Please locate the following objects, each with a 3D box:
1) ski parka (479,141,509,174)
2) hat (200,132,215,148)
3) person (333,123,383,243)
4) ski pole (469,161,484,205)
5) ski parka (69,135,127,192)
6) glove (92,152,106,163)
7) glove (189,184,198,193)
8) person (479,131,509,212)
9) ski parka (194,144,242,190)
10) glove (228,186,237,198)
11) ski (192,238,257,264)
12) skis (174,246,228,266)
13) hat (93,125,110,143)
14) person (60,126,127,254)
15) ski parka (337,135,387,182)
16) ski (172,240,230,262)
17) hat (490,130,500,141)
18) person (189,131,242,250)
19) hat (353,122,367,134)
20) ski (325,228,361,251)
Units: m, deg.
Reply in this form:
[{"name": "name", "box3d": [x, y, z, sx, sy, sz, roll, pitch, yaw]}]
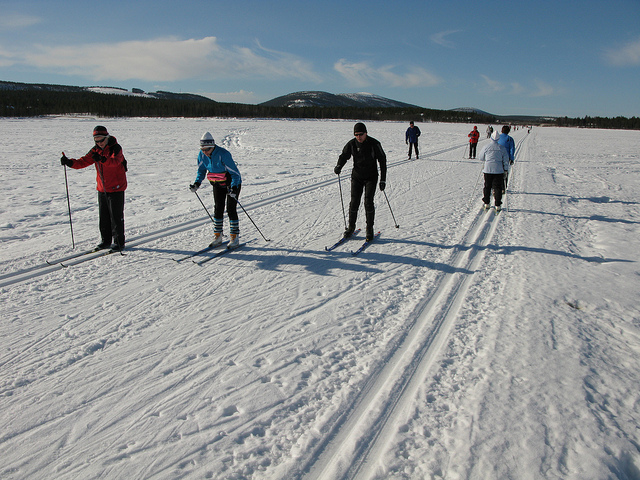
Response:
[{"name": "ski parka", "box3d": [3.846, -1.817, 10.289, 0.617, 0.752, 0.477, 4, 5, 25]}, {"name": "hat", "box3d": [-1.805, -1.625, 7.643, 0.213, 0.268, 0.289, 0, 32, -3]}, {"name": "person", "box3d": [0.678, -1.043, 8.187, 0.792, 1.985, 0.927, 1, 19, 2]}, {"name": "ski pole", "box3d": [3.622, -1.271, 10.882, 0.020, 1.352, 0.054, 14, 5, -10]}, {"name": "ski parka", "box3d": [-3.552, -1.216, 7.585, 0.656, 0.878, 0.479, -4, 20, -13]}, {"name": "glove", "box3d": [-3.517, -1.302, 7.384, 0.146, 0.171, 0.234, 4, 20, 10]}, {"name": "glove", "box3d": [-2.097, -0.847, 7.744, 0.133, 0.045, 0.097, 12, 17, -47]}, {"name": "person", "box3d": [3.809, -1.517, 10.239, 0.597, 1.642, 0.785, 8, 20, 21]}, {"name": "ski parka", "box3d": [-1.741, -1.248, 7.944, 0.826, 0.736, 0.430, 5, 33, 17]}, {"name": "glove", "box3d": [-1.437, -0.806, 7.724, 0.116, 0.150, 0.159, 0, 3, 6]}, {"name": "ski", "box3d": [-1.598, 0.194, 7.772, 0.178, 0.039, 1.336, 13, 24, 29]}, {"name": "skis", "box3d": [-2.009, 0.253, 7.599, 0.279, 0.071, 0.583, 20, 24, 22]}, {"name": "hat", "box3d": [-3.481, -1.717, 7.471, 0.198, 0.228, 0.248, -24, 6, -23]}, {"name": "person", "box3d": [-3.542, -0.829, 7.626, 0.780, 1.958, 0.931, -8, 21, -25]}, {"name": "ski parka", "box3d": [0.739, -1.390, 7.981, 0.852, 0.822, 0.526, 2, 8, 15]}, {"name": "ski", "box3d": [-1.970, 0.199, 7.735, 0.077, 0.061, 0.689, 27, 33, 22]}, {"name": "hat", "box3d": [3.864, -2.295, 10.262, 0.168, 0.132, 0.256, 6, 33, 11]}, {"name": "person", "box3d": [-1.737, -0.861, 7.957, 0.756, 1.903, 0.890, -5, 20, -17]}, {"name": "hat", "box3d": [0.649, -1.863, 7.672, 0.174, 0.177, 0.208, 3, -7, 43]}, {"name": "ski", "box3d": [0.411, 0.014, 8.252, 0.069, 0.096, 0.687, 36, 40, 11]}]
